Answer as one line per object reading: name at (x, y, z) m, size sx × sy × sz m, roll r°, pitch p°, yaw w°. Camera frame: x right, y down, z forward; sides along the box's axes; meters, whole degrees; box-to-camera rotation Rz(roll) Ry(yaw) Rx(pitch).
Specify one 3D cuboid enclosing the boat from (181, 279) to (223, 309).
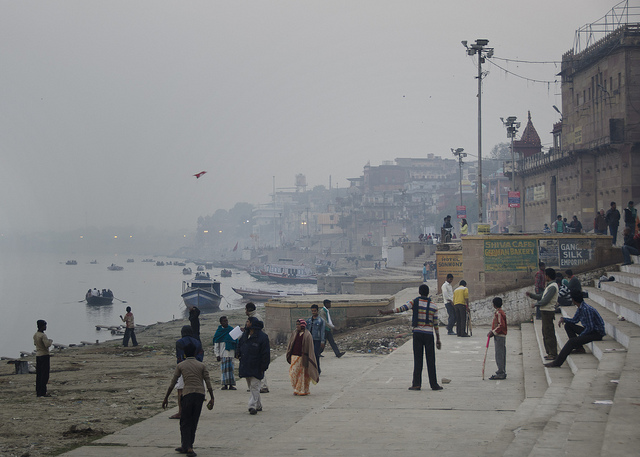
boat at (-9.445, 4.739, 95.280) m, size 3.080 × 2.262 × 6.062 m, roll 5°, pitch 3°, yaw 2°
